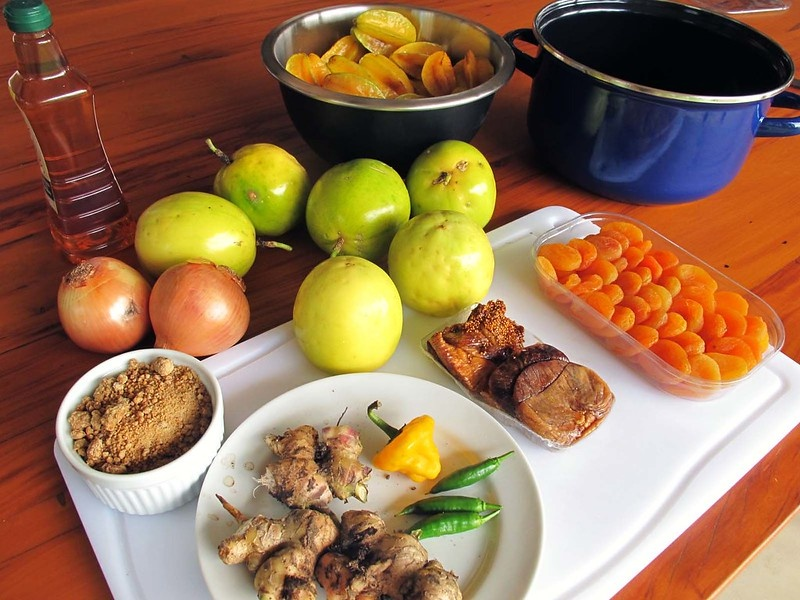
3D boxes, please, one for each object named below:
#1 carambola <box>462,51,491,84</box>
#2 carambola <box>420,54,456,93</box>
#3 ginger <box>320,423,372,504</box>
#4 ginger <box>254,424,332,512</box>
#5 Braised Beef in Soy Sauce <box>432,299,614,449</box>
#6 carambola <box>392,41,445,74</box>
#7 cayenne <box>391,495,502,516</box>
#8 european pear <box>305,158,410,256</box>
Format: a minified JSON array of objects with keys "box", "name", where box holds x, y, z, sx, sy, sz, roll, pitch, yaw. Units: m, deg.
[{"box":[0.140,-0.420,1.269,0.060,0.017,0.059,10,96,-3],"name":"carambola"},{"box":[0.067,-0.406,1.258,0.056,0.029,0.074,-25,97,-5],"name":"carambola"},{"box":[-0.074,0.215,0.938,0.061,0.040,0.096,-16,57,-11],"name":"ginger"},{"box":[-0.133,0.223,0.901,0.090,0.045,0.096,10,59,-5],"name":"ginger"},{"box":[0.181,0.116,1.048,0.158,0.083,0.268,-33,58,-30],"name":"Braised Beef in Soy Sauce"},{"box":[0.034,-0.450,1.288,0.085,0.030,0.056,-4,84,-11],"name":"carambola"},{"box":[0.067,0.274,0.921,0.097,0.020,0.016,-4,101,10],"name":"cayenne"},{"box":[-0.094,-0.160,1.179,0.187,0.147,0.189,-5,30,-9],"name":"european pear"}]
